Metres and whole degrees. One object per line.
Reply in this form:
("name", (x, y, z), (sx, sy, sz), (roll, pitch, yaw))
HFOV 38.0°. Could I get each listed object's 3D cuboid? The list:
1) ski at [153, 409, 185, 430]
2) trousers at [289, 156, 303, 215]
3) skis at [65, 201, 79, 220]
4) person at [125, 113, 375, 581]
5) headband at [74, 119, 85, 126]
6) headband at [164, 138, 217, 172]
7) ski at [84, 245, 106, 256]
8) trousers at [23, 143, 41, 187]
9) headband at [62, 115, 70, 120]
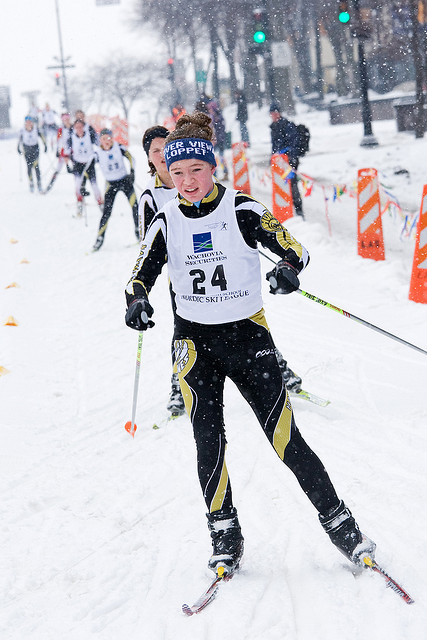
("ski", (-0.328, 0.714, 4.468), (0.179, 0.066, 0.103), (-35, 17, -15))
("trousers", (1.462, -2.396, 11.010), (0.162, 1.008, 0.801), (-7, 17, 9))
("skis", (-3.233, -2.505, 14.159), (0.158, 0.192, 1.162), (-37, 35, 3))
("person", (0.065, 0.139, 2.477), (0.730, 1.794, 0.682), (-11, 17, -4))
("headband", (-2.645, -3.916, 12.158), (0.177, 0.044, 0.179), (3, 3, -16))
("headband", (-0.088, -0.680, 2.532), (0.226, 0.138, 0.189), (-13, 17, -12))
("ski", (-2.078, -1.192, 10.634), (0.355, 0.085, 0.104), (-24, -20, 36))
("trousers", (-4.942, -4.285, 17.093), (0.423, 1.213, 1.116), (-14, 17, -13))
("headband", (-3.663, -5.051, 15.358), (0.173, 0.043, 0.172), (9, 25, 19))
